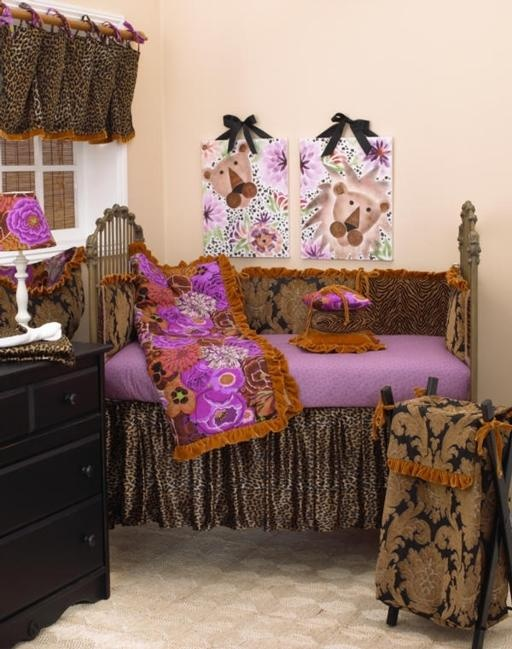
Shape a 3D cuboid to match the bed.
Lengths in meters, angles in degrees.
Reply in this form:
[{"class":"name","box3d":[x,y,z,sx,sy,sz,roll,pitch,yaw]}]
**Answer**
[{"class":"bed","box3d":[0.111,0.166,2.888,1.966,1.462,1.039,0,10,1]}]
